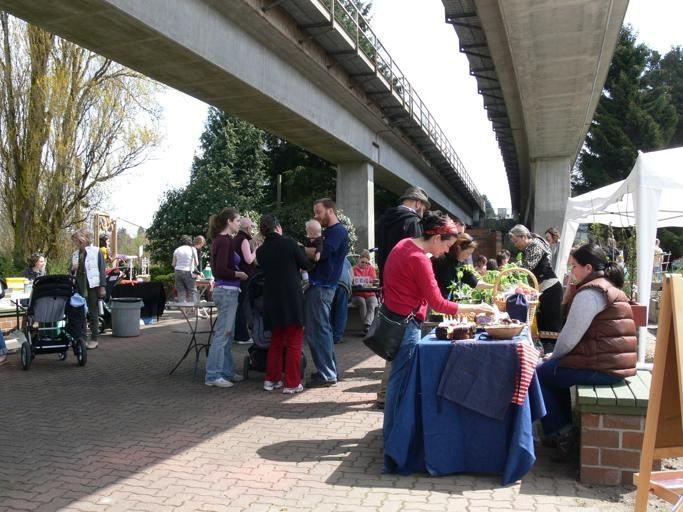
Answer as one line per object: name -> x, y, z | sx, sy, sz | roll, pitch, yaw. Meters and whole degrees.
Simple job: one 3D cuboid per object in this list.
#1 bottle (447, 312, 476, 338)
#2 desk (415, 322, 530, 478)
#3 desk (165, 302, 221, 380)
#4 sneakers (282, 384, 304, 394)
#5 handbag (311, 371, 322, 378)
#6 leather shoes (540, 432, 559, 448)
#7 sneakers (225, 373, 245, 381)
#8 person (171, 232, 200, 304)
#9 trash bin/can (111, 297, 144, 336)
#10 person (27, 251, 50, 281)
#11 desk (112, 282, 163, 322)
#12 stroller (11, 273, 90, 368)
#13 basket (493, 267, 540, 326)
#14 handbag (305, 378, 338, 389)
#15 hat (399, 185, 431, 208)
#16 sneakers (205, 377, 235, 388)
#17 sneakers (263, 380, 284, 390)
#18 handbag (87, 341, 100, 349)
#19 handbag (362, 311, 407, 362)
bottle -> 1.154, 0.689, 5.433 | 0.245, 0.141, 0.339 | -1, -10, 0
desk -> 1.194, 1.267, 5.318 | 1.019, 1.185, 1.215 | -2, 0, -28
desk -> -2.947, 1.642, 11.768 | 0.989, 0.840, 0.990 | -7, -4, 22
sneakers -> -0.659, 1.825, 7.693 | 0.110, 0.140, 0.284 | 1, 7, 40
handbag -> -0.370, 1.732, 8.136 | 0.117, 0.034, 0.124 | 3, 6, 17
leather shoes -> 2.063, 1.827, 5.580 | 0.142, 0.113, 0.141 | 3, 3, 42
sneakers -> -1.572, 1.819, 8.402 | 0.174, 0.082, 0.093 | 3, 2, -23
person -> -4.181, 0.346, 15.053 | 0.629, 1.753, 1.398 | -2, 2, -15
trash bin/can -> -4.959, 1.439, 13.217 | 0.735, 0.912, 0.787 | -2, -5, 37
person -> -6.583, 0.246, 12.183 | 0.469, 0.811, 0.580 | 2, 3, -21
desk -> -5.153, 1.101, 14.776 | 1.178, 0.895, 0.865 | -1, 7, -42
stroller -> -4.896, 1.081, 9.462 | 0.896, 1.588, 1.243 | -3, 3, -38
basket -> 2.104, 0.455, 6.748 | 0.631, 0.892, 0.790 | 1, -1, 14
handbag -> -0.300, 1.828, 7.996 | 0.413, 0.197, 0.160 | 4, -4, -1
hat -> 0.961, -0.783, 7.110 | 0.298, 0.180, 0.269 | 10, -10, 3
sneakers -> -1.730, 1.806, 8.069 | 0.406, 0.179, 0.157 | 1, -3, 5
sneakers -> -0.949, 1.802, 7.862 | 0.295, 0.149, 0.120 | -2, 4, -44
handbag -> -4.901, 1.761, 11.107 | 0.118, 0.088, 0.202 | -7, -13, 10
handbag -> 0.413, 0.750, 5.310 | 0.391, 0.477, 0.195 | 1, 3, 31
